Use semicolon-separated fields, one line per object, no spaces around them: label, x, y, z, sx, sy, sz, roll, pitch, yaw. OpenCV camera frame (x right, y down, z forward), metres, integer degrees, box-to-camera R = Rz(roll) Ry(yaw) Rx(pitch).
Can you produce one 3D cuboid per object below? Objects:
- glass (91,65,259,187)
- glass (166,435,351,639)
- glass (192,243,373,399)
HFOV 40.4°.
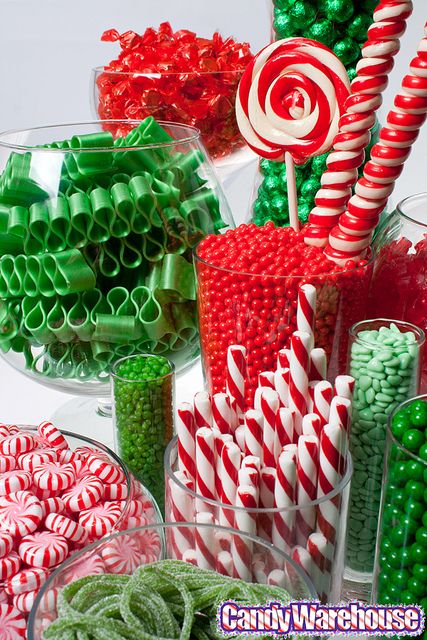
glass;-0.116;-0.457;1.563;0.371;0.224;0.379;-2;11;-8
glass;0.041;0.210;0.606;0.158;0.164;0.159;1;18;6
glass;0.092;-0.009;0.902;0.228;0.206;0.232;-2;16;-5
